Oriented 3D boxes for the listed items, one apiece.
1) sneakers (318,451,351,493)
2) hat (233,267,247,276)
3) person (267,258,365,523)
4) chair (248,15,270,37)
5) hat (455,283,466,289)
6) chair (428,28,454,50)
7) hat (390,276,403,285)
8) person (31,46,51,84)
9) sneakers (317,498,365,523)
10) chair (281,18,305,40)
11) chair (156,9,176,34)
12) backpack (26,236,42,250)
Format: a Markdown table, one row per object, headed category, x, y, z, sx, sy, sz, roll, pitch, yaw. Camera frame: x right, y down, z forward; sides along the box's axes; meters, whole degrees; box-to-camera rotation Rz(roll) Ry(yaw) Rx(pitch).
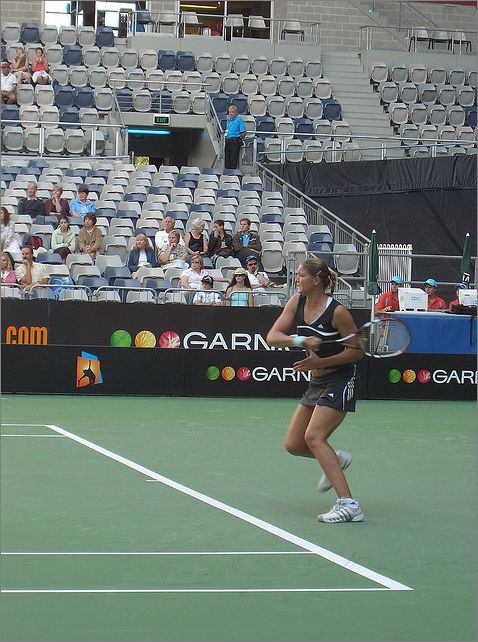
| category | x | y | z | sx | sy | sz | roll | pitch | yaw |
| --- | --- | --- | --- | --- | --- | --- | --- | --- | --- |
| sneakers | 0.555 | 0.876 | 6.883 | 0.116 | 0.149 | 0.339 | 5 | 51 | 20 |
| hat | 0.011 | -0.584 | 14.197 | 0.163 | 0.076 | 0.214 | 1 | 9 | 3 |
| person | 0.456 | 0.415 | 6.738 | 0.573 | 1.525 | 0.541 | 2 | 8 | 6 |
| chair | 0.494 | -7.475 | 29.827 | 0.483 | 0.810 | 0.586 | -1 | 7 | -11 |
| hat | 2.818 | -0.443 | 14.865 | 0.094 | 0.046 | 0.137 | -6 | -11 | 28 |
| chair | 5.217 | -7.202 | 30.345 | 0.548 | 0.796 | 0.594 | 1 | 41 | 4 |
| hat | 1.947 | -0.496 | 14.246 | 0.089 | 0.075 | 0.142 | 12 | -16 | 35 |
| person | -4.091 | -5.224 | 24.073 | 0.398 | 0.795 | 1.290 | -1 | 9 | -10 |
| sneakers | 0.593 | 1.091 | 6.730 | 0.286 | 0.134 | 0.110 | 1 | -2 | -15 |
| chair | 1.363 | -7.396 | 29.782 | 0.514 | 0.783 | 0.584 | 1 | 5 | -4 |
| chair | -1.810 | -7.375 | 28.980 | 0.598 | 0.811 | 0.619 | -2 | 13 | -13 |
| backpack | -2.779 | -1.037 | 15.760 | 0.147 | 0.221 | 0.199 | 0 | 4 | -39 |
